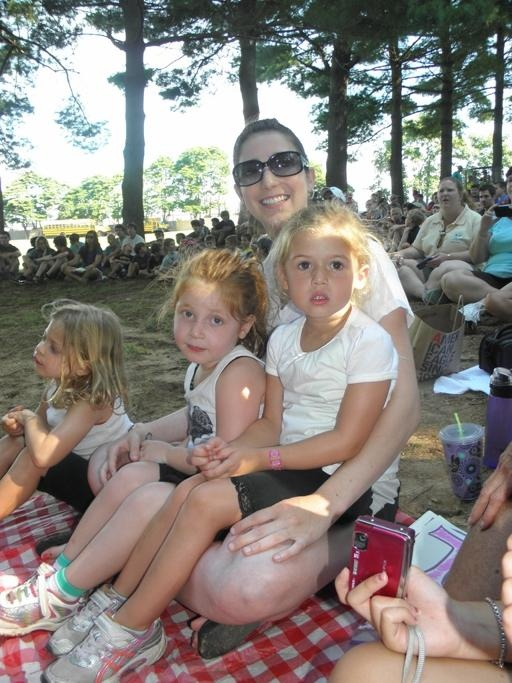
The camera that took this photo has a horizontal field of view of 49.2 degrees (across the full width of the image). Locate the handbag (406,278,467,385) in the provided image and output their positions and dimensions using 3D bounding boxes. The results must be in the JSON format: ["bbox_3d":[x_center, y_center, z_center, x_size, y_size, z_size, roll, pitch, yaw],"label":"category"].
[{"bbox_3d":[1.188,-0.068,3.962,0.567,0.704,0.477,16,23,41],"label":"handbag"}]

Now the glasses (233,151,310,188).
[{"bbox_3d":[0.055,-0.682,2.246,0.269,0.129,0.137,7,17,36],"label":"glasses"}]

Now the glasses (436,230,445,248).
[{"bbox_3d":[2.023,-1.112,6.105,0.085,0.204,0.122,2,10,13],"label":"glasses"}]

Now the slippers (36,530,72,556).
[{"bbox_3d":[-0.744,0.733,2.072,0.062,0.037,0.113,5,22,44],"label":"slippers"}]

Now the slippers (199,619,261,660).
[{"bbox_3d":[-0.074,0.766,1.446,0.153,0.117,0.049,0,10,-1],"label":"slippers"}]

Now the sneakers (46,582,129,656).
[{"bbox_3d":[-0.449,0.740,1.496,0.073,0.242,0.101,47,-15,18],"label":"sneakers"}]

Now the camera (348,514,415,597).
[{"bbox_3d":[0.228,0.380,1.009,0.111,0.134,0.037,11,8,36],"label":"camera"}]
